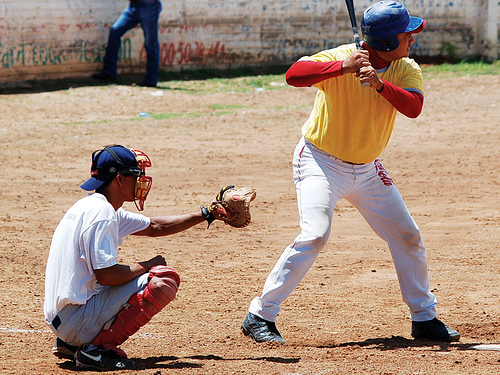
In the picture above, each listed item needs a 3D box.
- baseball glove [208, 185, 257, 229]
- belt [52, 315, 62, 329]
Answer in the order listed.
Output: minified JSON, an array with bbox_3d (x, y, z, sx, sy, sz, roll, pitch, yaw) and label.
[{"bbox_3d":[-0.182,0.212,13.747,0.603,0.482,0.446,22,2,4],"label":"baseball glove"},{"bbox_3d":[-2.258,1.543,13.010,0.125,0.112,0.029,18,0,30],"label":"belt"}]
